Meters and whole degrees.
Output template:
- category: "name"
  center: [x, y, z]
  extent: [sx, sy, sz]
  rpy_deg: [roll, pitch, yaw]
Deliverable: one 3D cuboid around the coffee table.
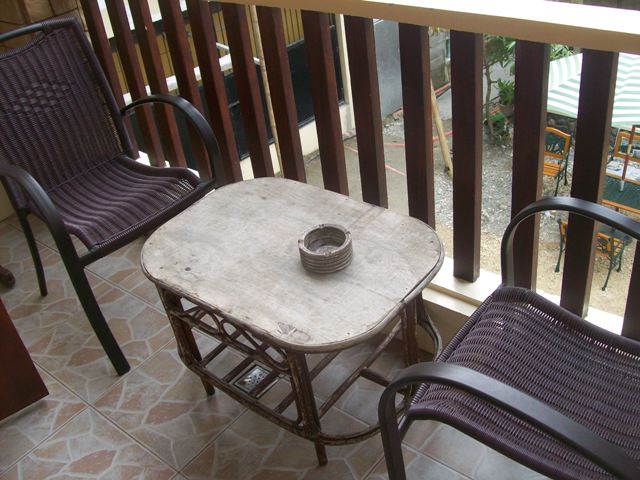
- category: "coffee table"
  center: [0.034, 0.388, 2.005]
  extent: [1.161, 0.857, 0.904]
  rpy_deg: [24, 48, 31]
